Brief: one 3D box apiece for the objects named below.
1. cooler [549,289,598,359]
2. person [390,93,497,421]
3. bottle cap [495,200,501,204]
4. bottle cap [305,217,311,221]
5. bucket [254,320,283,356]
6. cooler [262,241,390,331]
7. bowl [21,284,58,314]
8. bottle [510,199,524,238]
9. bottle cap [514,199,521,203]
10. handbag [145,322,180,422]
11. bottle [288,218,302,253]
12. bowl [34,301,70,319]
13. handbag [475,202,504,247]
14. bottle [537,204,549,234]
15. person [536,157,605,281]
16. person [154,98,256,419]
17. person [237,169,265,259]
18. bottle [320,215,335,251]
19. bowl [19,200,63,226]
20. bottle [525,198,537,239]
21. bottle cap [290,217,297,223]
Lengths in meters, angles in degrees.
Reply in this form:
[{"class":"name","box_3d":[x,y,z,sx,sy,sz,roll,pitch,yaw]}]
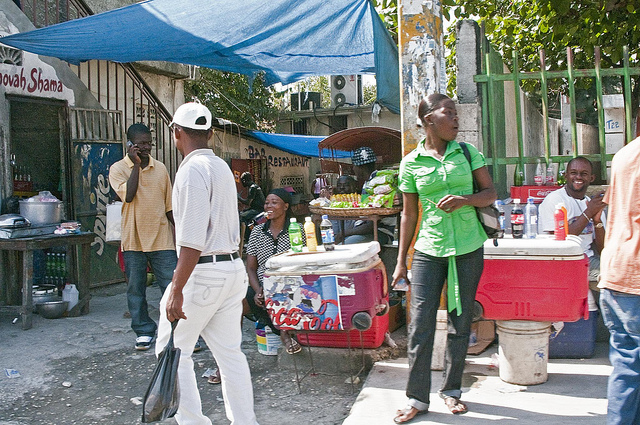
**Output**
[{"class":"cooler","box_3d":[2.709,1.176,6.858,0.836,0.751,0.695,-1,2,14]},{"class":"person","box_3d":[1.131,0.392,5.564,0.963,2.963,0.497,-3,6,2]},{"class":"bottle cap","box_3d":[1.936,-0.115,6.512,0.044,0.052,0.076,-5,2,-18]},{"class":"bottle cap","box_3d":[-0.126,0.068,6.592,0.040,0.036,0.040,0,1,33]},{"class":"bucket","box_3d":[-0.581,1.513,7.367,0.394,0.403,0.385,-3,-5,0]},{"class":"cooler","box_3d":[0.095,0.831,6.495,1.287,0.766,0.985,-5,4,28]},{"class":"bowl","box_3d":[-4.008,1.223,8.675,0.472,0.313,0.469,-1,-6,0]},{"class":"bottle","box_3d":[2.078,0.050,6.309,0.127,0.392,0.247,-1,6,19]},{"class":"bottle cap","box_3d":[2.075,-0.125,6.293,0.063,0.038,0.062,0,0,17]},{"class":"handbag","box_3d":[-1.291,1.419,5.003,0.177,0.556,0.315,1,7,35]},{"class":"bottle","box_3d":[-0.261,0.244,6.632,0.133,0.360,0.467,-3,6,-3]},{"class":"bowl","box_3d":[-3.858,1.384,8.680,0.303,0.129,0.305,0,1,0]},{"class":"handbag","box_3d":[1.618,0.066,5.596,0.236,0.412,0.137,1,17,16]},{"class":"bottle","box_3d":[2.442,0.069,6.597,0.098,0.310,0.226,-2,6,7]},{"class":"person","box_3d":[2.922,0.110,6.780,0.843,1.419,0.897,1,5,10]},{"class":"person","box_3d":[-1.064,0.440,5.313,0.854,2.842,0.647,-6,7,-23]},{"class":"person","box_3d":[-1.249,0.142,9.662,0.559,1.145,0.478,5,30,-2]},{"class":"bottle","box_3d":[0.085,0.239,6.446,0.122,0.309,0.183,-3,6,4]},{"class":"bowl","box_3d":[-4.005,0.002,8.786,0.478,0.227,0.397,1,5,1]},{"class":"bottle","box_3d":[2.212,0.050,6.277,0.123,0.395,0.366,-1,6,19]},{"class":"bottle cap","box_3d":[-0.292,0.079,6.640,0.054,0.045,0.046,0,-7,1]}]
